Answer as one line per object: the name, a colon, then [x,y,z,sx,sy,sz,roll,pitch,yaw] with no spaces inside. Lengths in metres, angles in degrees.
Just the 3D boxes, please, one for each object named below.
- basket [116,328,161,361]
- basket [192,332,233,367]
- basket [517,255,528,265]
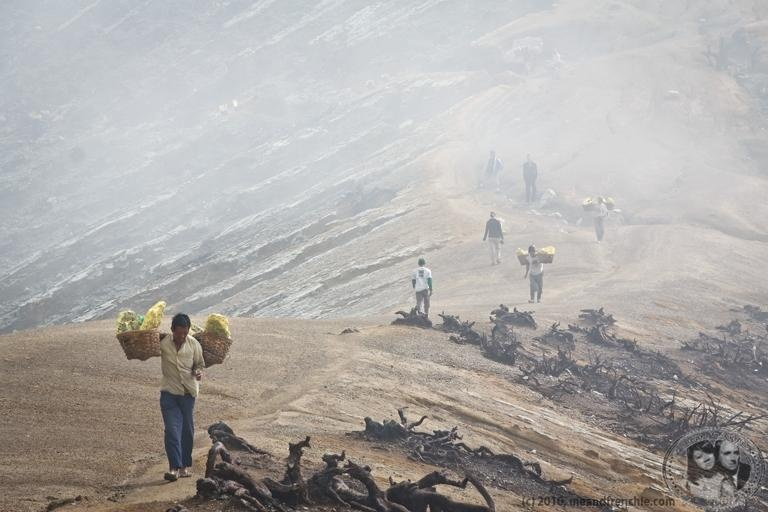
basket: [-11.280,3.990,43.604,1.697,0.895,1.496,-5,-1,-8]
basket: [-8.265,4.251,43.980,1.725,1.176,1.750,26,-27,-38]
basket: [7.785,0.146,53.597,0.271,0.570,0.681,-30,22,-34]
